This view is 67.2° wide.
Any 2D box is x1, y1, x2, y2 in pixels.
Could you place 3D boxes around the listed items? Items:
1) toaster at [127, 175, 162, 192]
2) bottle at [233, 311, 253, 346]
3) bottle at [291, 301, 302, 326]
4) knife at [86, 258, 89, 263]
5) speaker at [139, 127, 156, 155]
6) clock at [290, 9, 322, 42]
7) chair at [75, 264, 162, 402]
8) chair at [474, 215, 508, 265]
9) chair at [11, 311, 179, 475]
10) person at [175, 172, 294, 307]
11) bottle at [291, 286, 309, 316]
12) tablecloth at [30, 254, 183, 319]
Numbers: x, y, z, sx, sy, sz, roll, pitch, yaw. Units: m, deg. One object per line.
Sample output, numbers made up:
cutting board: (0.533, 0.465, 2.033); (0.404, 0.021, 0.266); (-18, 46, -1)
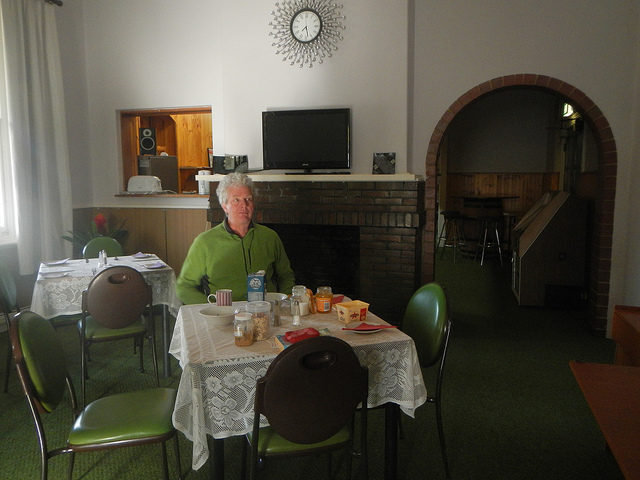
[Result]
toaster: (-2.356, -0.743, 6.388); (0.456, 0.207, 0.133); (2, 12, 9)
bottle: (-0.425, 0.483, 2.767); (0.108, 0.182, 0.124); (12, 25, 15)
bottle: (-0.147, 0.457, 2.986); (0.094, 0.189, 0.106); (0, 0, -3)
knife: (-2.330, 0.199, 4.796); (0.022, 0.049, 0.024); (1, 13, -1)
speaker: (-2.480, -1.398, 6.854); (0.226, 0.357, 0.181); (-3, 12, -13)
clock: (-0.139, -2.261, 5.077); (0.297, 0.343, 0.045); (-1, 8, 9)
chair: (-1.752, 0.670, 4.075); (0.654, 1.198, 0.701); (-9, 20, -39)
chair: (3.244, -0.105, 9.093); (0.544, 0.927, 1.588); (4, 13, 21)
chair: (-1.526, 1.041, 3.252); (0.870, 1.347, 0.782); (-5, 9, -13)
person: (-0.630, 0.002, 3.686); (0.915, 1.050, 0.536); (-4, 8, -27)
bottle: (-0.129, 0.393, 3.086); (0.095, 0.191, 0.175); (2, 9, 9)
tablecloth: (-2.200, 0.393, 4.227); (0.778, 0.222, 0.815); (-2, 3, -27)
